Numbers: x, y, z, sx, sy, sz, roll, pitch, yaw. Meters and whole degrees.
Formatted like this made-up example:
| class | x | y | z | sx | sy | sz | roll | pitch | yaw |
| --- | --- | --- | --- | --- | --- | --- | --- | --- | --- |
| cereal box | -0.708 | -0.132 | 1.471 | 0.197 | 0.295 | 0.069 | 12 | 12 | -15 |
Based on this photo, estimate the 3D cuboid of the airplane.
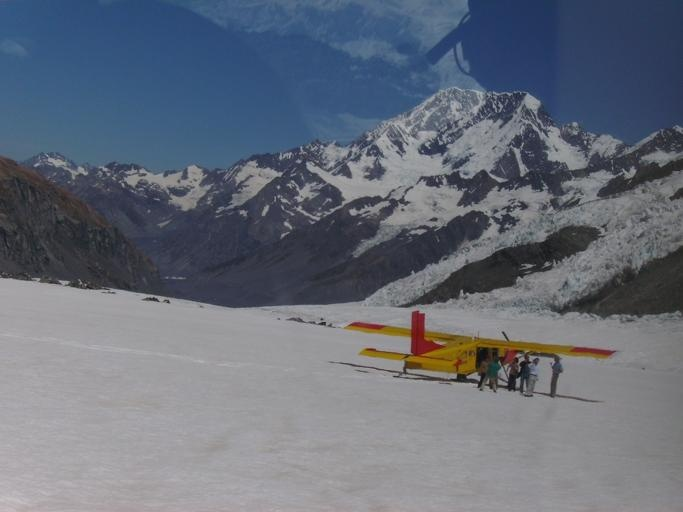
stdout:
| class | x | y | z | sx | sy | sz | roll | pitch | yaw |
| --- | --- | --- | --- | --- | --- | --- | --- | --- | --- |
| airplane | 6.350 | 4.766 | 59.326 | 11.707 | 2.853 | 4.024 | 3 | 2 | 6 |
